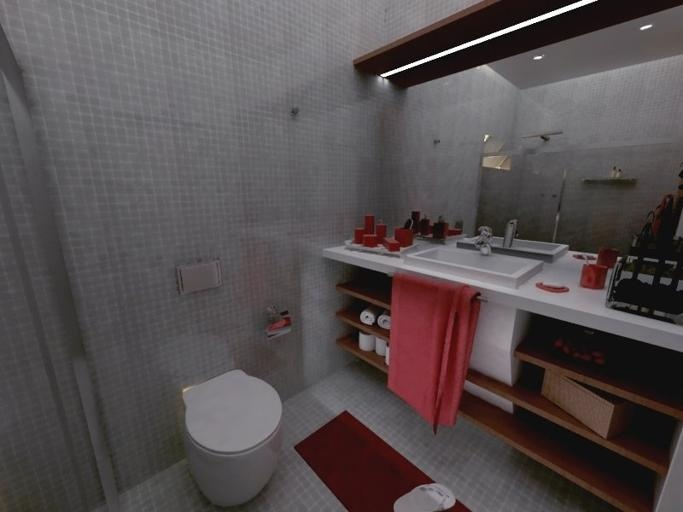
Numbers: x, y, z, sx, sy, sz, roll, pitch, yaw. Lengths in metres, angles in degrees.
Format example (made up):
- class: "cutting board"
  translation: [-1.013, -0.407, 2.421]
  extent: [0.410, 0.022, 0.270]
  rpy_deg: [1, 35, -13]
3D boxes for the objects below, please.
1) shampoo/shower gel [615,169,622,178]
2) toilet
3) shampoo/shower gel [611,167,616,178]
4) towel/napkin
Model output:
- class: "shampoo/shower gel"
  translation: [1.850, -0.548, 3.152]
  extent: [0.034, 0.071, 0.041]
  rpy_deg: [0, 10, 5]
- class: "toilet"
  translation: [-0.629, 0.898, 2.529]
  extent: [0.469, 0.459, 0.586]
  rpy_deg: [-15, 26, -36]
- class: "shampoo/shower gel"
  translation: [1.825, -0.568, 3.161]
  extent: [0.028, 0.071, 0.014]
  rpy_deg: [8, 17, 25]
- class: "towel/napkin"
  translation: [0.519, 0.529, 2.611]
  extent: [0.225, 0.818, 0.697]
  rpy_deg: [-12, 23, -33]
